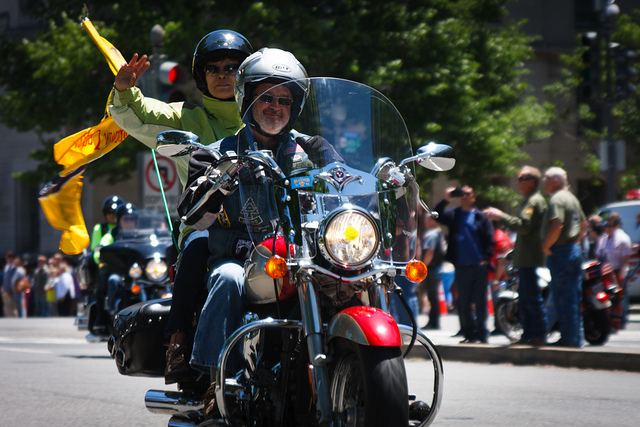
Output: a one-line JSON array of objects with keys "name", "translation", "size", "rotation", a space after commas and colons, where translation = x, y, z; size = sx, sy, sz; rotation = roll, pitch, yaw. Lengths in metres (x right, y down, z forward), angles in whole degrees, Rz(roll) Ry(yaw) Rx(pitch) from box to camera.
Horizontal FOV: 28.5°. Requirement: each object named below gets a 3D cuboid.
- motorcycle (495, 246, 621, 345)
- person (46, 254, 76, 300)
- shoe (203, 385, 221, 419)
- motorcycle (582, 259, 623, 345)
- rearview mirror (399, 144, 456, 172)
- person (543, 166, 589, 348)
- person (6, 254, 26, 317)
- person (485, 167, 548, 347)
[{"name": "motorcycle", "translation": [4.567, 1.698, 24.481], "size": [2.510, 1.697, 1.541], "rotation": [-2, -4, 32]}, {"name": "person", "translation": [-7.207, 1.778, 35.261], "size": [0.698, 0.744, 1.267], "rotation": [1, -6, -16]}, {"name": "shoe", "translation": [-1.582, 2.804, 18.423], "size": [0.193, 0.380, 0.571], "rotation": [-1, -25, -9]}, {"name": "motorcycle", "translation": [5.394, 1.690, 24.096], "size": [0.761, 1.574, 0.732], "rotation": [3, -5, -18]}, {"name": "rearview mirror", "translation": [1.555, -0.813, 18.351], "size": [0.681, 0.330, 0.394], "rotation": [-14, 16, -13]}, {"name": "person", "translation": [4.385, 0.786, 22.807], "size": [0.716, 3.246, 0.528], "rotation": [0, -4, 10]}, {"name": "person", "translation": [-8.577, 2.050, 35.714], "size": [0.527, 1.723, 0.978], "rotation": [2, -4, -14]}, {"name": "person", "translation": [3.732, 0.764, 23.140], "size": [0.820, 3.288, 0.592], "rotation": [0, -4, 9]}]
